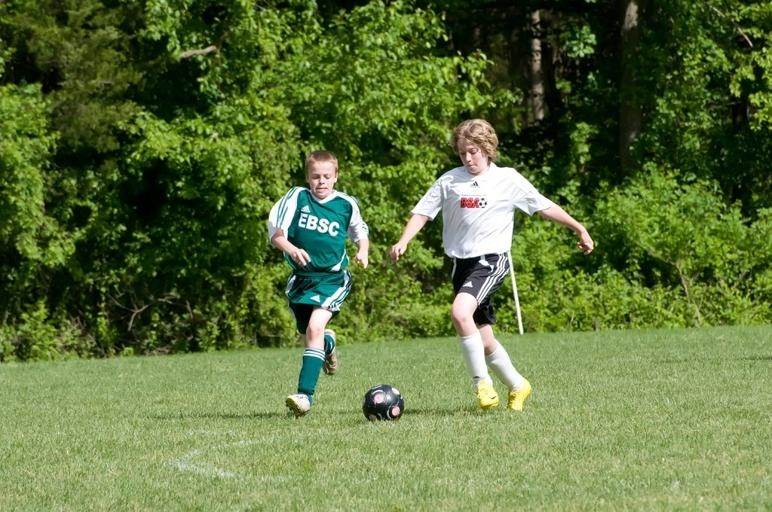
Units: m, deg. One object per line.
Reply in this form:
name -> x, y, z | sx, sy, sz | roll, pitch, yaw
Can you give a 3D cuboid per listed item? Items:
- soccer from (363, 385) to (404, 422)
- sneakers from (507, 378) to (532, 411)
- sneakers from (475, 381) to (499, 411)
soccer -> -0.047, 2.020, 17.477 | 0.462, 0.506, 0.495 | -1, -6, 44
sneakers -> 1.891, 1.941, 17.531 | 0.187, 0.551, 0.239 | 3, -22, 40
sneakers -> 1.386, 1.928, 17.409 | 0.223, 0.221, 0.443 | -34, 23, 13
